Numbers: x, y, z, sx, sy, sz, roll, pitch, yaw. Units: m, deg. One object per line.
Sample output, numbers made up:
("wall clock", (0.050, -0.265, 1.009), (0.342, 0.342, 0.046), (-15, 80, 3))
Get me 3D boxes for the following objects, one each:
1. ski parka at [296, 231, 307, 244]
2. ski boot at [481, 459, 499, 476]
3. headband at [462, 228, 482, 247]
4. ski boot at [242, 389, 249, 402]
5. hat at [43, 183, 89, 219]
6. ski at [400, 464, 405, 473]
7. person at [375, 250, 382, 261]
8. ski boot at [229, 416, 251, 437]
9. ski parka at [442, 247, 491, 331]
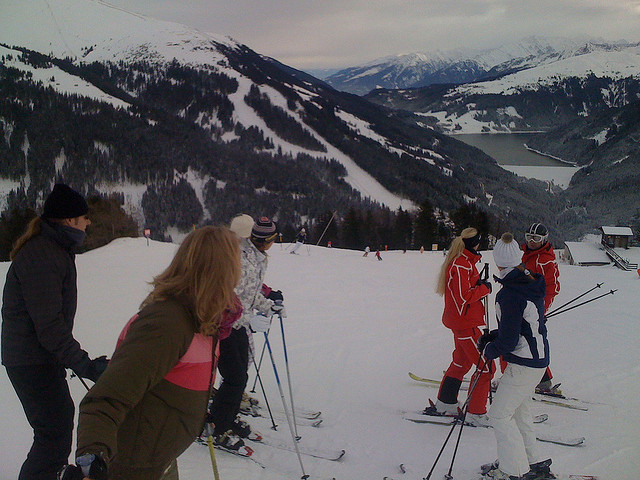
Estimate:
("ski parka", (-1.115, -0.134, 40.087), (0.792, 0.450, 1.248), (29, 0, 1))
("ski boot", (3.373, 4.503, 12.921), (0.310, 0.110, 0.331), (-28, 8, 0))
("headband", (3.305, -0.043, 14.044), (0.243, 0.367, 0.264), (11, -2, 33))
("ski boot", (-1.626, 3.370, 14.190), (0.128, 0.316, 0.447), (-3, 11, -3))
("hat", (-4.636, -0.709, 11.820), (0.767, 0.617, 0.267), (-8, 11, -25))
("ski", (1.665, 4.620, 13.158), (0.040, 0.036, 0.162), (13, 45, -22))
("person", (3.148, 0.816, 35.286), (0.367, 0.886, 0.253), (-1, 4, 11))
("ski boot", (-1.617, 3.827, 13.363), (0.234, 0.269, 0.567), (8, 10, -12))
("ski parka", (3.092, 1.037, 13.948), (0.920, 1.698, 0.588), (-2, 9, 3))
